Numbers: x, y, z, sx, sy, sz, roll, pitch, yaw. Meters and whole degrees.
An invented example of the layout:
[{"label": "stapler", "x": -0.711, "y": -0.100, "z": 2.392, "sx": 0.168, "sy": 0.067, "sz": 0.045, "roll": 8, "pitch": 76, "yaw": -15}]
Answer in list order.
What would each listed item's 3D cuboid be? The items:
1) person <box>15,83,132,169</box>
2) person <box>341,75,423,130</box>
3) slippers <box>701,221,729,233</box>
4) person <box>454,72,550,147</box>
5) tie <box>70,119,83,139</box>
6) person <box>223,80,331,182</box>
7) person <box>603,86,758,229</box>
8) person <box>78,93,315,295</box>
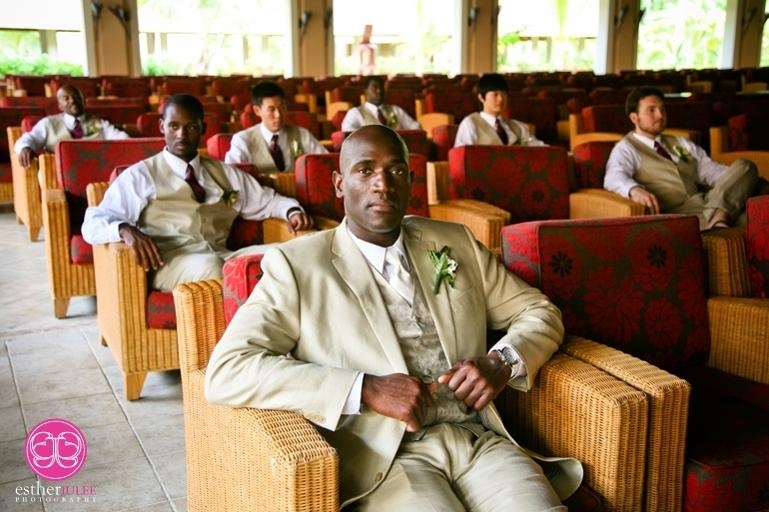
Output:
[{"label": "person", "x": -3.205, "y": -1.316, "z": 6.045, "sx": 0.714, "sy": 0.856, "sz": 1.367, "roll": 11, "pitch": 19, "yaw": 33}, {"label": "person", "x": -0.049, "y": -1.856, "z": 7.517, "sx": 0.611, "sy": 0.829, "sz": 1.093, "roll": -23, "pitch": 5, "yaw": 21}, {"label": "slippers", "x": 2.066, "y": -0.185, "z": 3.637, "sx": 0.178, "sy": 0.045, "sz": 0.189, "roll": 0, "pitch": 8, "yaw": 38}, {"label": "person", "x": 1.046, "y": -1.323, "z": 5.584, "sx": 1.005, "sy": 0.772, "sz": 0.506, "roll": -5, "pitch": 4, "yaw": -25}, {"label": "tie", "x": -3.155, "y": -1.306, "z": 5.968, "sx": 0.137, "sy": 0.197, "sz": 0.048, "roll": 0, "pitch": 4, "yaw": 6}, {"label": "person", "x": -0.968, "y": -1.092, "z": 5.059, "sx": 1.080, "sy": 0.798, "sz": 0.388, "roll": -16, "pitch": 37, "yaw": -31}, {"label": "person", "x": 2.207, "y": -0.686, "z": 4.270, "sx": 1.072, "sy": 1.158, "sz": 0.934, "roll": -6, "pitch": 10, "yaw": 24}, {"label": "person", "x": -1.069, "y": -0.136, "z": 3.489, "sx": 1.266, "sy": 1.560, "sz": 0.921, "roll": -1, "pitch": 15, "yaw": -7}]
